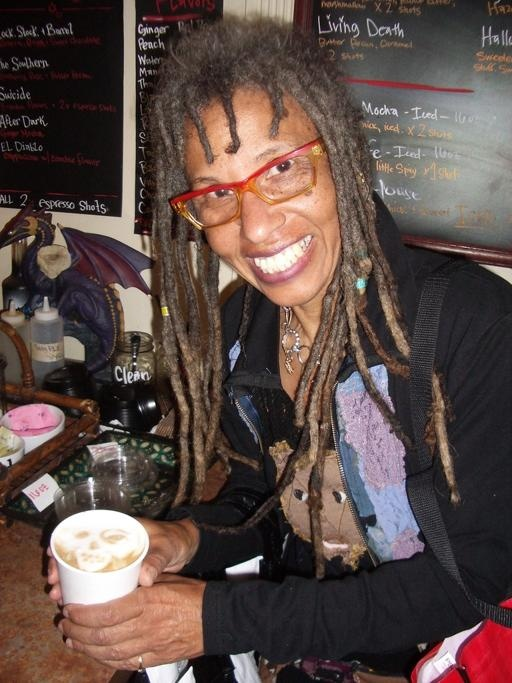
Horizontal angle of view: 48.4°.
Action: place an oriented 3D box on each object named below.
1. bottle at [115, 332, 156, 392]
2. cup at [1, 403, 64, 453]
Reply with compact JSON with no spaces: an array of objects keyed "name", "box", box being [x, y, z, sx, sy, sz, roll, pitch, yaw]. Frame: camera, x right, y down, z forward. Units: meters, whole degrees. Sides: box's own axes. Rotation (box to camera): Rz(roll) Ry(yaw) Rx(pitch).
[{"name":"bottle","box":[-0.416,0.081,1.939,0.161,0.197,0.210,-3,19,-15]},{"name":"cup","box":[-0.553,0.206,1.425,0.115,0.050,0.115,2,11,0]}]
